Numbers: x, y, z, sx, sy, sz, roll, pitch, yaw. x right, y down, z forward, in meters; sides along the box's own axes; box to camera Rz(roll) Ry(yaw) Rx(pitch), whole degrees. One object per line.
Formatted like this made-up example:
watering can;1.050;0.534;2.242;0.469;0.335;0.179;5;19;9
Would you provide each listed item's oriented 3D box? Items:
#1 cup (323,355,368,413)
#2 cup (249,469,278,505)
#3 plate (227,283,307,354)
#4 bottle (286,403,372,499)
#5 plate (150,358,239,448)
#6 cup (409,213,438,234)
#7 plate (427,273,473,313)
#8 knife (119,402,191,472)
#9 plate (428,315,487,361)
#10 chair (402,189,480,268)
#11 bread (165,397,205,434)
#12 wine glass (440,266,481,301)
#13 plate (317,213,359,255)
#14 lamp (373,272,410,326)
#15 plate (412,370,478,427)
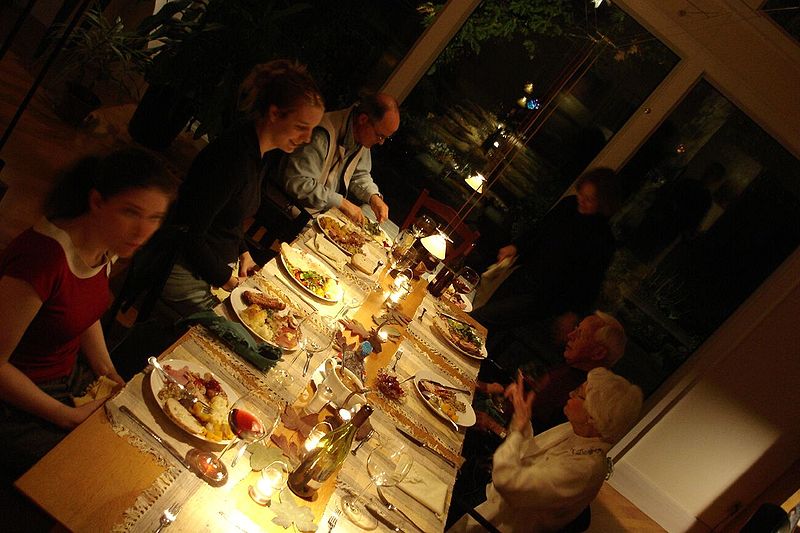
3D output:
cup;-0.300;0.667;3.590;0.190;0.150;0.256;39;28;8
cup;-0.662;1.093;3.109;0.108;0.122;0.107;35;10;-7
plate;-0.776;0.315;3.574;0.439;0.127;0.332;51;30;1
bottle;-0.387;0.970;3.227;0.191;0.465;0.085;34;-12;0
plate;-1.037;0.663;3.127;0.434;0.091;0.416;41;18;-29
cup;0.180;-0.293;4.659;0.183;0.193;0.191;6;1;0
plate;0.419;0.257;5.193;0.310;0.126;0.318;23;27;-33
knife;-1.182;0.826;3.029;0.443;0.062;0.020;43;-16;-2
plate;0.451;0.521;4.609;0.356;0.118;0.345;40;10;30
chair;0.340;-0.348;5.408;0.340;0.629;0.322;38;6;-8
bread;-1.056;0.733;3.084;0.177;0.047;0.163;58;8;1
wine glass;0.534;0.146;5.240;0.257;0.284;0.266;37;19;3
plate;-0.433;-0.230;4.514;0.283;0.041;0.285;40;20;-10
lamp;-0.061;0.236;4.325;0.210;0.148;0.272;45;29;-19
plate;0.309;0.849;4.001;0.353;0.072;0.357;12;26;-42
